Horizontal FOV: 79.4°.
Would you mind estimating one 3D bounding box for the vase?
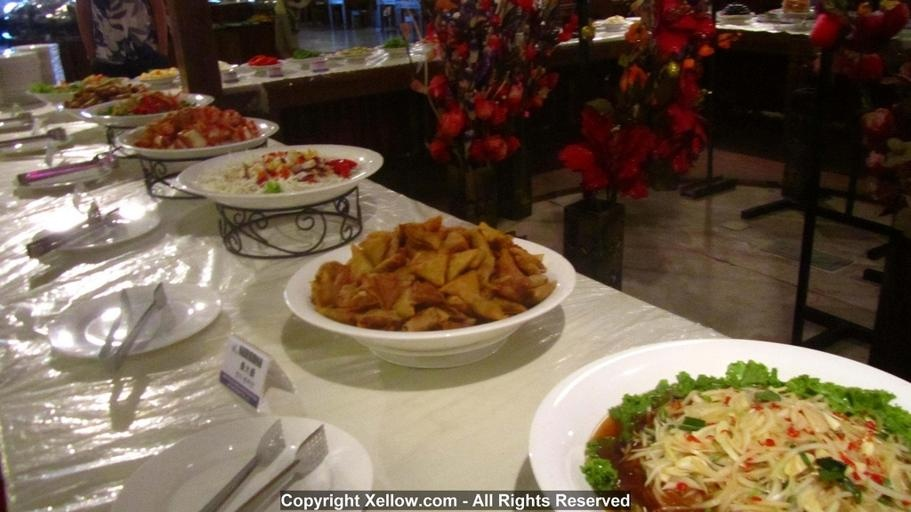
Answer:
[{"bbox_3d":[0.439,-0.038,1.698,0.143,0.301,0.179,-1,5,-44],"label":"vase"}]

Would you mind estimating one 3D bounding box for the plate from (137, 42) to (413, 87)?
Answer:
[{"bbox_3d":[-0.736,-1.115,3.153,1.174,0.089,0.692,-12,28,-17],"label":"plate"}]

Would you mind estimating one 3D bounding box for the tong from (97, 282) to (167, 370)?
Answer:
[{"bbox_3d":[-0.740,0.171,1.295,0.089,0.059,0.190,-1,42,7],"label":"tong"}]

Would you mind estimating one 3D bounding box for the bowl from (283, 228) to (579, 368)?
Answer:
[{"bbox_3d":[-0.054,0.112,1.264,0.652,0.195,0.344,-2,28,2],"label":"bowl"}]

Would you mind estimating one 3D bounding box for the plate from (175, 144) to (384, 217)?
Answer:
[{"bbox_3d":[-0.487,-0.231,1.860,0.754,0.279,0.431,6,2,22],"label":"plate"}]
